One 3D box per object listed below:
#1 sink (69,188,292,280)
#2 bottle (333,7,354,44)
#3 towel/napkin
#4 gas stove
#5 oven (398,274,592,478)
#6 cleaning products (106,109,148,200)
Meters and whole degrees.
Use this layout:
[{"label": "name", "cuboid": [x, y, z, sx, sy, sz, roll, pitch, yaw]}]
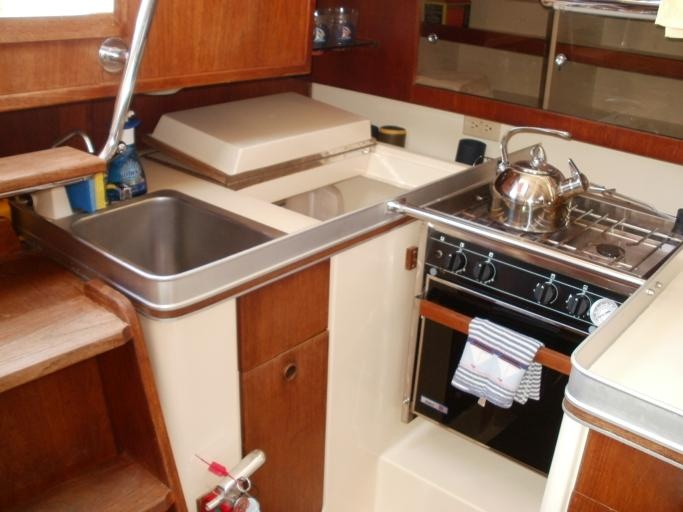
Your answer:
[{"label": "sink", "cuboid": [-0.426, -0.063, 1.415, 0.374, 0.151, 0.289, 25, 36, 28]}, {"label": "bottle", "cuboid": [0.004, -0.884, 2.002, 0.068, 0.115, 0.078, -22, 41, -28]}, {"label": "towel/napkin", "cuboid": [0.472, 0.303, 1.557, 0.250, 0.240, 0.141, 30, 38, 30]}, {"label": "gas stove", "cuboid": [0.628, 0.009, 1.654, 0.682, 0.339, 0.559, 23, 35, 31]}, {"label": "oven", "cuboid": [0.538, 0.335, 1.808, 0.592, 0.580, 0.423, 21, 38, 39]}, {"label": "cleaning products", "cuboid": [-0.616, -0.304, 1.524, 0.093, 0.223, 0.226, 1, 29, -5]}]
